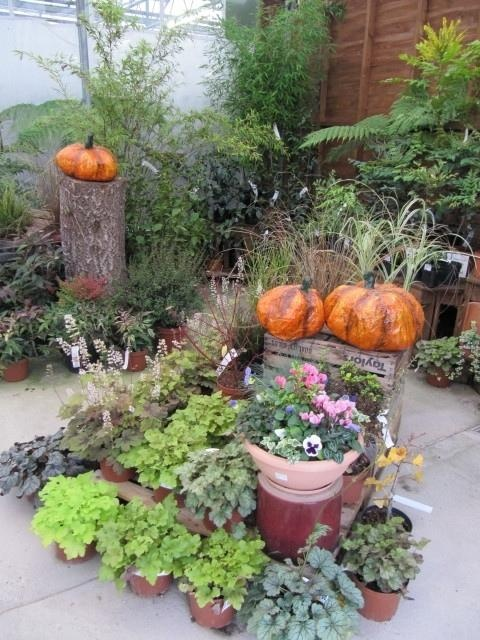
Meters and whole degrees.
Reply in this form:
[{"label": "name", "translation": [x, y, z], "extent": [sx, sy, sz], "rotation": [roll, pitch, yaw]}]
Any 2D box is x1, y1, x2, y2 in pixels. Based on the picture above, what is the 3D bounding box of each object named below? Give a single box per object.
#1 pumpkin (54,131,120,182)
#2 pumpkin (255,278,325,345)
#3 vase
[{"label": "pumpkin", "translation": [-1.062, -1.128, 3.353], "extent": [0.402, 0.264, 0.356], "rotation": [7, 23, -22]}, {"label": "pumpkin", "translation": [0.244, -0.037, 2.339], "extent": [0.303, 0.274, 0.245], "rotation": [-9, 21, -26]}, {"label": "vase", "translation": [0.225, 0.643, 1.677], "extent": [0.346, 0.284, 0.328], "rotation": [2, 0, 18]}]
